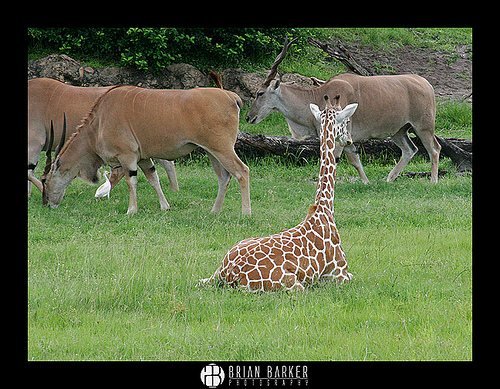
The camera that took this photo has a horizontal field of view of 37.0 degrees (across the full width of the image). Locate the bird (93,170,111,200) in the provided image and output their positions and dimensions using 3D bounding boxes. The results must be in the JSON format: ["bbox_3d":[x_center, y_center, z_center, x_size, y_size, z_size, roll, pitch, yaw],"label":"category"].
[{"bbox_3d":[-3.002,-0.236,15.166,0.340,0.500,1.485,-2,14,-12],"label":"bird"}]

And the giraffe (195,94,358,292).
[{"bbox_3d":[0.581,0.016,10.191,2.618,2.702,1.230,-8,4,-32],"label":"giraffe"}]
